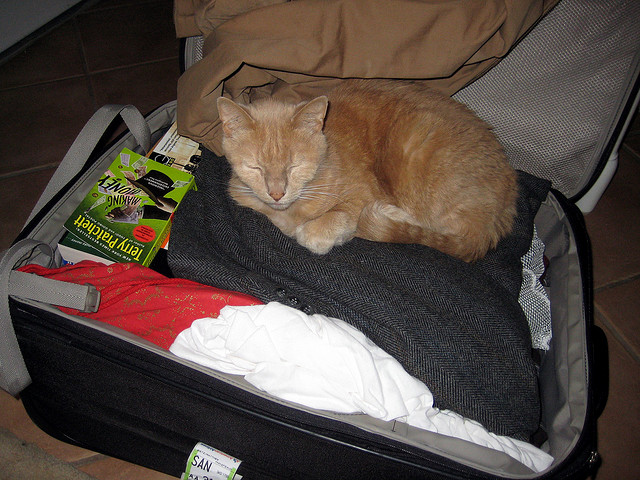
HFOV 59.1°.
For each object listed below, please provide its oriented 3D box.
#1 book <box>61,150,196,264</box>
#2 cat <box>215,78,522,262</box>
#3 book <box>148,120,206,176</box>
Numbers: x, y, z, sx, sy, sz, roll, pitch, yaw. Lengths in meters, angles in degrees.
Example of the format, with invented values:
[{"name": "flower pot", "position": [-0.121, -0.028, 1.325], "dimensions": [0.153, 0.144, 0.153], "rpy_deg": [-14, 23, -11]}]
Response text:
[{"name": "book", "position": [-0.689, -0.073, 2.009], "dimensions": [0.133, 0.404, 0.544], "rpy_deg": [-3, 60, -51]}, {"name": "cat", "position": [0.203, -0.235, 1.948], "dimensions": [0.816, 0.375, 0.702], "rpy_deg": [-27, 56, -14]}, {"name": "book", "position": [-0.501, -0.340, 2.154], "dimensions": [0.221, 0.196, 0.254], "rpy_deg": [8, 35, 9]}]
